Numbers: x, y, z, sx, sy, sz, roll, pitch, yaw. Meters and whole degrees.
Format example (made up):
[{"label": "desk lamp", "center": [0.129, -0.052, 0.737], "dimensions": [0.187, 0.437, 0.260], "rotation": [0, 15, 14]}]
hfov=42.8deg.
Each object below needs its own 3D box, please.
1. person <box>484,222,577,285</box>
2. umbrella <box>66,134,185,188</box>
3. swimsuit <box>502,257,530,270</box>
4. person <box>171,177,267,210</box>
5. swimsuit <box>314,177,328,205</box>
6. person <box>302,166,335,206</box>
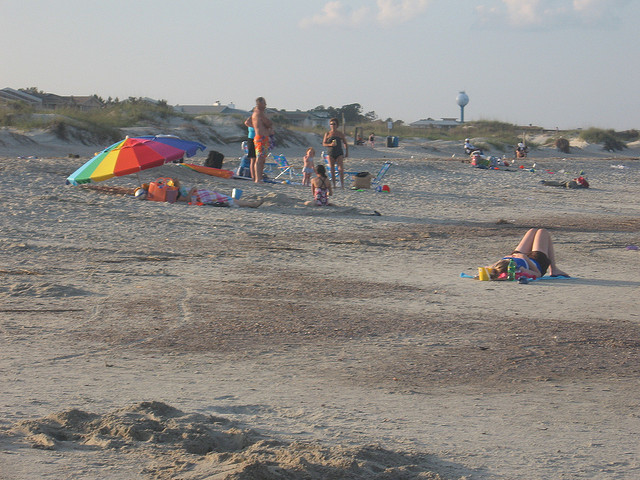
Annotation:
[{"label": "person", "center": [2.199, 0.191, 9.089], "dimensions": [0.652, 0.592, 1.377], "rotation": [10, -13, 36]}, {"label": "umbrella", "center": [-3.168, -1.306, 13.475], "dimensions": [1.484, 0.403, 1.213], "rotation": [-14, 3, -23]}, {"label": "swimsuit", "center": [2.129, 0.262, 8.841], "dimensions": [0.278, 0.124, 0.144], "rotation": [4, 4, 17]}, {"label": "person", "center": [-1.683, -0.726, 13.516], "dimensions": [1.532, 0.436, 0.659], "rotation": [2, 4, -6]}, {"label": "swimsuit", "center": [0.042, -0.836, 14.197], "dimensions": [0.262, 0.462, 0.150], "rotation": [4, 6, -15]}, {"label": "person", "center": [0.009, -0.934, 14.318], "dimensions": [0.488, 0.694, 0.484], "rotation": [7, 5, 20]}]
